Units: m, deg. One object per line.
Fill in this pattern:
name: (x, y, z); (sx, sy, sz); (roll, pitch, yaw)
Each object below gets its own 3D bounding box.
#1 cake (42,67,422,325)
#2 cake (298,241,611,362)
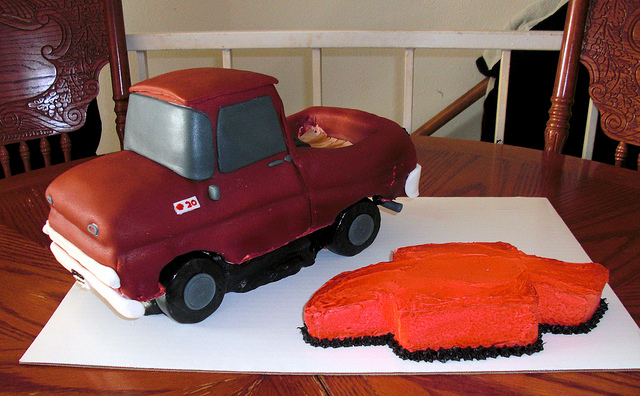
cake: (-0.109, -0.070, 1.115); (0.746, 0.381, 0.379); (-23, 38, -29)
cake: (0.227, 0.168, 0.904); (0.413, 0.086, 0.222); (-4, 17, 3)
